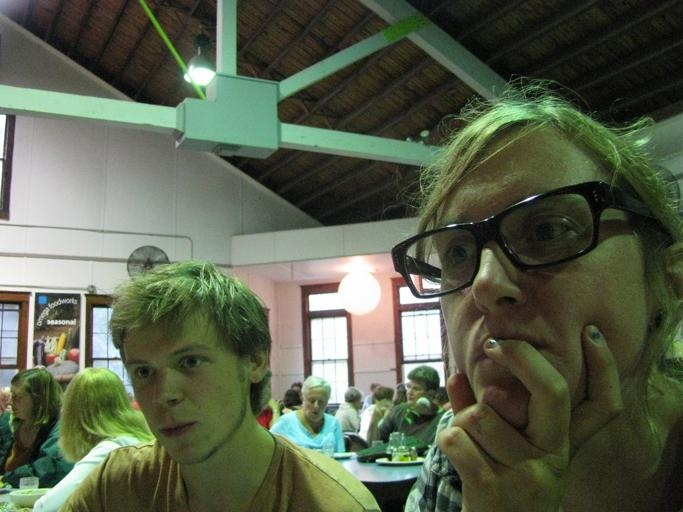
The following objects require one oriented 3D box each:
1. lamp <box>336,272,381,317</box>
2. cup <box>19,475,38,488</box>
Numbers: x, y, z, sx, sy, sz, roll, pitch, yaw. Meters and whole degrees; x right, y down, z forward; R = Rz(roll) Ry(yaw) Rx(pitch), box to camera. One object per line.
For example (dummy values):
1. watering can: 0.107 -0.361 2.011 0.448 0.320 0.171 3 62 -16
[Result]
1. lamp: 0.196 0.517 9.411 0.613 0.698 0.609 0 1 9
2. cup: -1.422 1.026 2.975 0.065 0.047 0.062 0 -13 0
